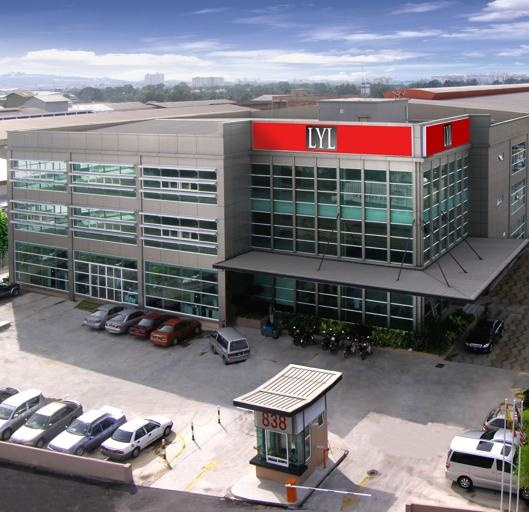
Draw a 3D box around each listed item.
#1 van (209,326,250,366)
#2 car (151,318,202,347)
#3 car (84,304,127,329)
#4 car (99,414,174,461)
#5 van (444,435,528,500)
[{"bbox_3d":[-2.413,5.686,32.507,1.739,1.100,2.707,-9,25,-31],"label":"van"},{"bbox_3d":[-6.282,5.354,35.308,1.064,1.529,3.190,5,11,37],"label":"car"},{"bbox_3d":[-12.115,4.608,38.427,1.527,0.798,2.972,8,21,27],"label":"car"},{"bbox_3d":[-5.791,8.267,23.097,1.453,0.860,3.303,15,25,39],"label":"car"},{"bbox_3d":[8.841,8.044,19.227,3.639,1.124,1.735,1,17,17],"label":"van"}]
